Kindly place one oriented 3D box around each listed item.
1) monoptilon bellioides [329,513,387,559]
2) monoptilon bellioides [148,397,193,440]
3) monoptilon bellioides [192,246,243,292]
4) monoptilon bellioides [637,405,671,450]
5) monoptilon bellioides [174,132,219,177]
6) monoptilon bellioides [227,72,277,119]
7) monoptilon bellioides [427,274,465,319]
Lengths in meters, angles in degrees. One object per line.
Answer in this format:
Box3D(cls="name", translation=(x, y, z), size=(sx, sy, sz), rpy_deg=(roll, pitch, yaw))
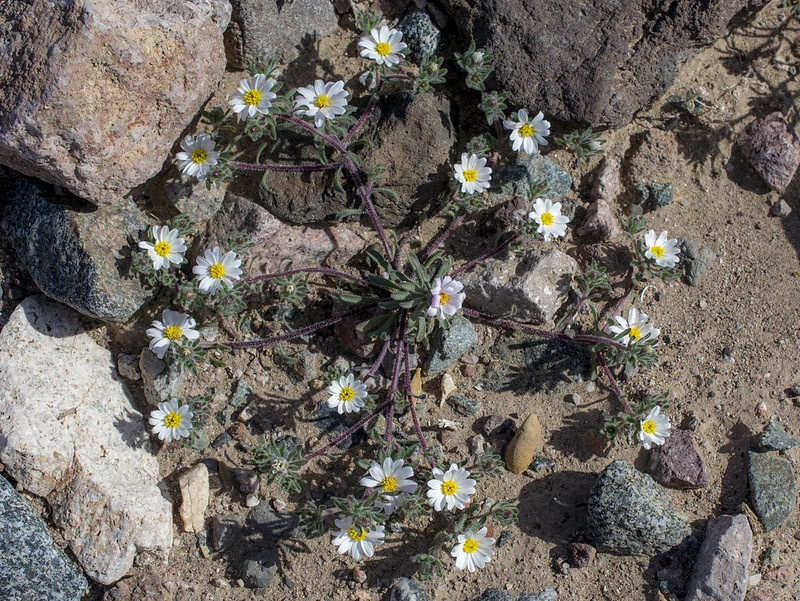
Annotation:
Box3D(cls="monoptilon bellioides", translation=(-0.338, 1.723, 6.866), size=(0.313, 0.312, 0.129), rpy_deg=(-39, 21, 28))
Box3D(cls="monoptilon bellioides", translation=(-1.752, 0.899, 7.096), size=(0.262, 0.141, 0.321), rpy_deg=(24, 11, 4))
Box3D(cls="monoptilon bellioides", translation=(-1.415, -0.238, 7.102), size=(0.302, 0.384, 0.125), rpy_deg=(-24, 3, 6))
Box3D(cls="monoptilon bellioides", translation=(1.972, 0.981, 7.112), size=(0.239, 0.357, 0.121), rpy_deg=(4, 5, -27))
Box3D(cls="monoptilon bellioides", translation=(-1.583, -1.140, 7.242), size=(0.275, 0.378, 0.103), rpy_deg=(-13, 4, 6))
Box3D(cls="monoptilon bellioides", translation=(-1.106, -1.637, 7.131), size=(0.247, 0.161, 0.283), rpy_deg=(-3, -6, 35))
Box3D(cls="monoptilon bellioides", translation=(0.322, -0.042, 6.857), size=(0.264, 0.298, 0.120), rpy_deg=(32, 13, -16))
